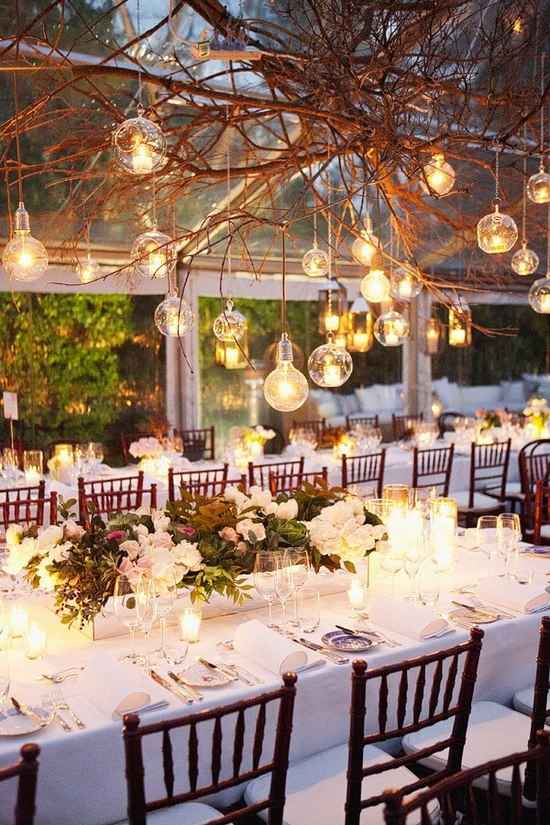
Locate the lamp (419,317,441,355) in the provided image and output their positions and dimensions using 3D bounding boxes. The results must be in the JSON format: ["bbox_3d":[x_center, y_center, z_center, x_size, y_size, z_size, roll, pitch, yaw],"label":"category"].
[{"bbox_3d":[1.745,-0.835,8.628,0.181,0.354,0.718,0,3,11],"label":"lamp"}]

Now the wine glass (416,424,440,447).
[{"bbox_3d":[1.292,0.195,6.537,0.196,0.184,0.188,0,-1,-12],"label":"wine glass"}]

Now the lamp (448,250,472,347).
[{"bbox_3d":[1.697,-0.938,7.212,0.240,0.682,0.229,-4,9,-8],"label":"lamp"}]

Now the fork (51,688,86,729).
[{"bbox_3d":[-0.471,0.657,1.758,0.039,0.041,0.280,-15,9,-19],"label":"fork"}]

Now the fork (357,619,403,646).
[{"bbox_3d":[0.295,0.632,2.216,0.037,0.035,0.248,-15,9,-17],"label":"fork"}]

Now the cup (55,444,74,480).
[{"bbox_3d":[-1.366,0.334,5.041,0.107,0.229,0.205,-2,3,-15],"label":"cup"}]

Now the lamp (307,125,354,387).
[{"bbox_3d":[0.200,-0.404,2.768,0.137,0.615,0.133,0,-2,3],"label":"lamp"}]

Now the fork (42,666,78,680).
[{"bbox_3d":[-0.531,0.651,1.925,0.027,0.015,0.090,20,9,25],"label":"fork"}]

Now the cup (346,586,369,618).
[{"bbox_3d":[0.250,0.598,2.418,0.076,0.080,0.074,-1,-1,0],"label":"cup"}]

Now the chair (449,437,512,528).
[{"bbox_3d":[1.484,0.612,5.985,0.479,0.792,0.486,-6,7,-42],"label":"chair"}]

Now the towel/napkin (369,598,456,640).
[{"bbox_3d":[0.383,0.594,2.240,0.120,0.045,0.140,-9,13,-40],"label":"towel/napkin"}]

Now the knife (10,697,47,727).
[{"bbox_3d":[-0.526,0.644,1.662,0.128,0.033,0.035,9,15,36],"label":"knife"}]

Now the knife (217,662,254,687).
[{"bbox_3d":[-0.107,0.638,1.929,0.029,0.028,0.194,-9,3,-24],"label":"knife"}]

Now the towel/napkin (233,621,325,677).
[{"bbox_3d":[-0.015,0.606,1.982,0.139,0.051,0.173,-6,9,-29],"label":"towel/napkin"}]

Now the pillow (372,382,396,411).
[{"bbox_3d":[1.208,-0.175,8.739,0.327,0.357,0.128,-3,4,-37],"label":"pillow"}]

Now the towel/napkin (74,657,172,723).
[{"bbox_3d":[-0.324,0.631,1.740,0.120,0.051,0.181,-8,-5,-25],"label":"towel/napkin"}]

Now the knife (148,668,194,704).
[{"bbox_3d":[-0.250,0.647,1.825,0.040,0.022,0.261,-8,5,-25],"label":"knife"}]

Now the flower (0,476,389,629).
[{"bbox_3d":[-0.205,0.399,2.346,0.853,0.244,0.534,-3,-5,-11],"label":"flower"}]

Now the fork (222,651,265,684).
[{"bbox_3d":[-0.079,0.630,1.957,0.036,0.025,0.180,-5,9,-20],"label":"fork"}]

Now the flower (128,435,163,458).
[{"bbox_3d":[-0.904,0.247,5.546,0.167,0.104,0.203,-1,-3,2],"label":"flower"}]

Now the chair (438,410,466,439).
[{"bbox_3d":[1.772,0.128,7.856,0.329,0.381,0.298,0,1,-6],"label":"chair"}]

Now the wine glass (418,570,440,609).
[{"bbox_3d":[0.524,0.610,2.668,0.072,0.106,0.073,-6,10,-6],"label":"wine glass"}]

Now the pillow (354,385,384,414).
[{"bbox_3d":[1.020,-0.141,8.608,0.105,0.205,0.310,12,11,41],"label":"pillow"}]

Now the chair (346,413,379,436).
[{"bbox_3d":[0.856,0.123,7.800,0.247,0.401,0.252,0,-2,-3],"label":"chair"}]

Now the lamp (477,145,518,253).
[{"bbox_3d":[0.891,-0.936,3.101,0.161,0.582,0.164,5,15,25],"label":"lamp"}]

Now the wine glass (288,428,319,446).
[{"bbox_3d":[0.226,0.198,6.303,0.168,0.129,0.172,-1,4,0],"label":"wine glass"}]

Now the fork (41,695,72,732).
[{"bbox_3d":[-0.475,0.632,1.684,0.035,0.029,0.206,-9,8,-21],"label":"fork"}]

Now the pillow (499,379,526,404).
[{"bbox_3d":[2.821,-0.249,9.309,0.310,0.277,0.108,-2,-2,-24],"label":"pillow"}]

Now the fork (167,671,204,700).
[{"bbox_3d":[-0.212,0.648,1.831,0.030,0.018,0.201,-19,11,-18],"label":"fork"}]

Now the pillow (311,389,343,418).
[{"bbox_3d":[0.532,-0.083,8.287,0.087,0.279,0.306,-14,4,43],"label":"pillow"}]

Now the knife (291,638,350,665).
[{"bbox_3d":[0.123,0.635,2.065,0.051,0.018,0.185,0,1,-23],"label":"knife"}]

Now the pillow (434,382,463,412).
[{"bbox_3d":[2.017,-0.201,9.053,0.343,0.335,0.146,-25,7,-32],"label":"pillow"}]

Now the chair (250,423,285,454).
[{"bbox_3d":[-0.062,0.247,7.207,0.337,0.402,0.302,1,-1,-27],"label":"chair"}]

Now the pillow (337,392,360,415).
[{"bbox_3d":[0.777,-0.093,8.439,0.085,0.235,0.217,-16,-2,30],"label":"pillow"}]

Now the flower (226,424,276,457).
[{"bbox_3d":[-0.216,0.216,6.064,0.275,0.185,0.266,2,-3,-11],"label":"flower"}]
